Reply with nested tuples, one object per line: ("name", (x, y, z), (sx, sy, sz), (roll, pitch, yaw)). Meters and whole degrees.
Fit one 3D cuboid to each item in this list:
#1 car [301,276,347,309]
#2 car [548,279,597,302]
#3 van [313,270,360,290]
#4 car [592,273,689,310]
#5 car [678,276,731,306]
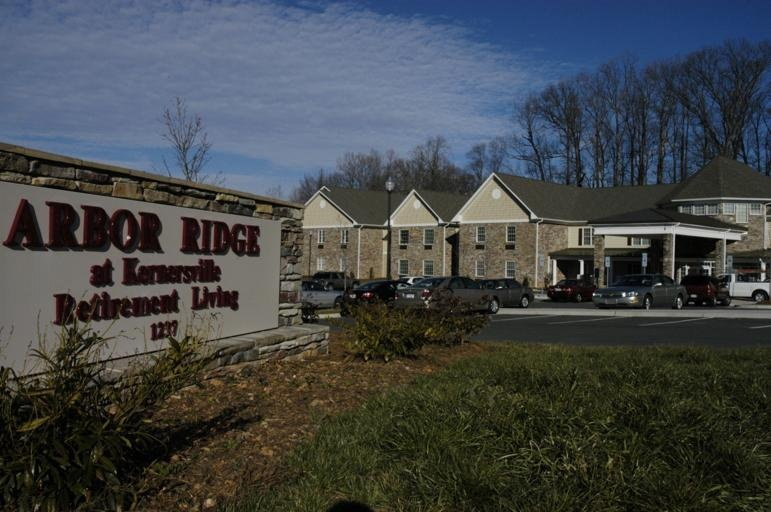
("car", (-2.774, 1.669, 29.486), (2.320, 1.050, 1.306), (-3, 3, -27))
("car", (10.532, 1.977, 36.728), (2.396, 1.322, 1.314), (1, -5, -26))
("van", (-2.966, 1.765, 38.814), (2.993, 1.385, 1.597), (-3, 1, -1))
("car", (11.539, 1.630, 29.410), (4.142, 1.554, 1.717), (2, -5, -31))
("car", (16.068, 1.678, 32.348), (1.395, 1.131, 2.828), (0, 4, 34))
